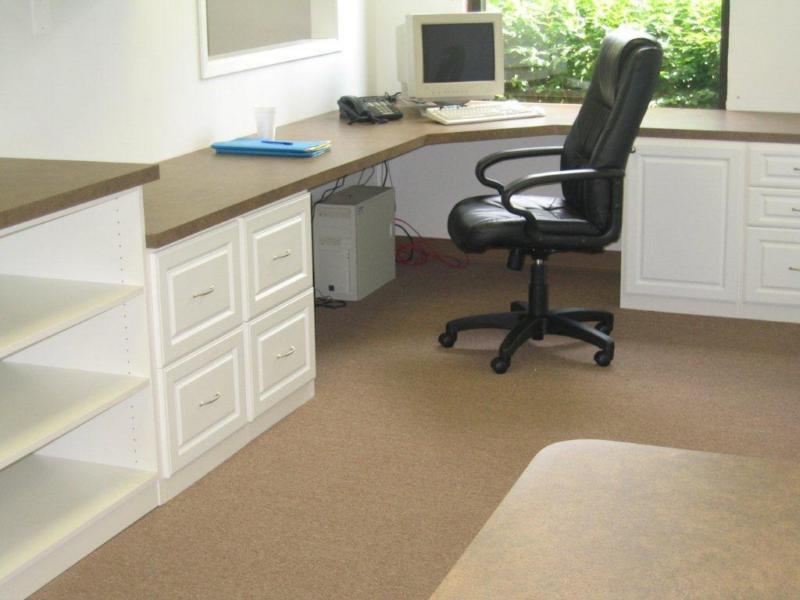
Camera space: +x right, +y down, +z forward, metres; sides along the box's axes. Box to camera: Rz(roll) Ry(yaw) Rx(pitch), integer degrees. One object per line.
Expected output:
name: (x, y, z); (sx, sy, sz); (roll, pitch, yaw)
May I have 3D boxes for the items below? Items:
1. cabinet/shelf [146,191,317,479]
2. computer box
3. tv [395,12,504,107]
cabinet/shelf: (-0.572, 0.110, 2.216); (0.370, 0.738, 0.783); (5, 18, 22)
computer box: (-0.270, -0.366, 3.909); (0.300, 0.507, 0.582); (12, 26, 23)
tv: (0.309, -1.352, 3.949); (0.496, 0.470, 0.521); (-2, 12, -5)
